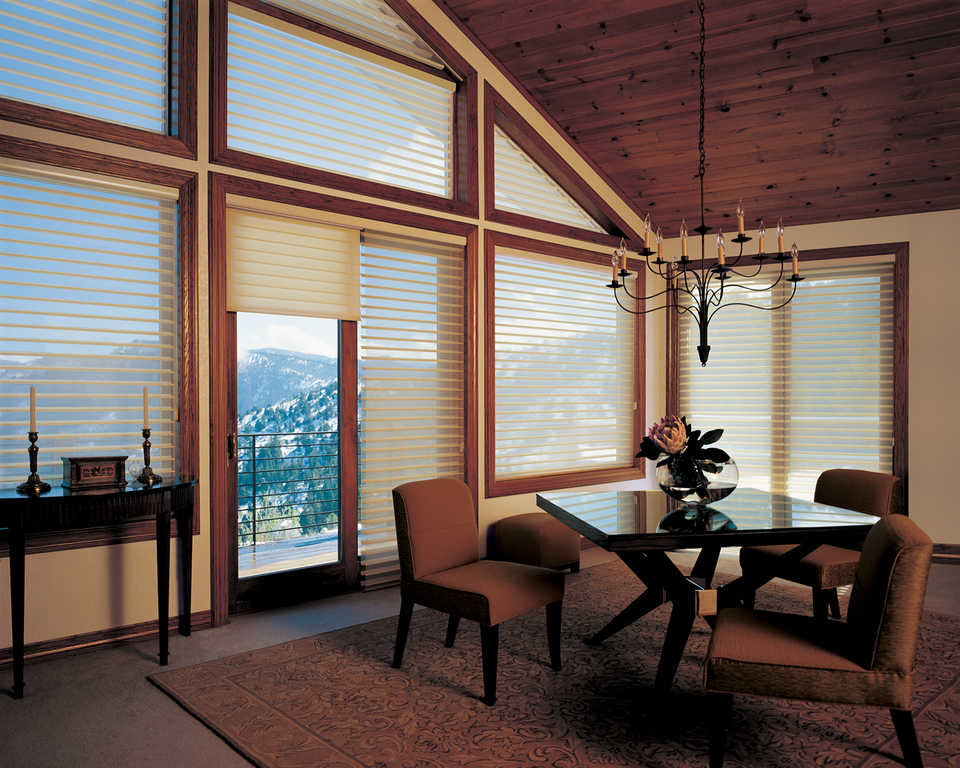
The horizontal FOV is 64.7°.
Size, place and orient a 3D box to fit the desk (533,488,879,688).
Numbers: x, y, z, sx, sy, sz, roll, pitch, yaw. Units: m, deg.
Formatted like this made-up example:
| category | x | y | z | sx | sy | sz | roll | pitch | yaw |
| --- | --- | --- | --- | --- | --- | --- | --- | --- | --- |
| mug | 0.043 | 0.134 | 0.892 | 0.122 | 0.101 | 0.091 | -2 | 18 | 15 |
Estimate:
| category | x | y | z | sx | sy | sz | roll | pitch | yaw |
| --- | --- | --- | --- | --- | --- | --- | --- | --- | --- |
| desk | 1.115 | 0.940 | 3.732 | 1.304 | 0.569 | 1.173 | 3 | -3 | -32 |

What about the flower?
| category | x | y | z | sx | sy | sz | roll | pitch | yaw |
| --- | --- | --- | --- | --- | --- | --- | --- | --- | --- |
| flower | 1.053 | 0.374 | 3.882 | 0.440 | 0.422 | 0.219 | 1 | 7 | 13 |

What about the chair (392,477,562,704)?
| category | x | y | z | sx | sy | sz | roll | pitch | yaw |
| --- | --- | --- | --- | --- | --- | --- | --- | --- | --- |
| chair | -0.013 | 0.987 | 3.904 | 0.806 | 0.741 | 0.613 | 7 | 4 | 37 |

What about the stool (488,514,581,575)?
| category | x | y | z | sx | sy | sz | roll | pitch | yaw |
| --- | --- | --- | --- | --- | --- | --- | --- | --- | --- |
| stool | 0.343 | 1.179 | 5.497 | 0.754 | 0.340 | 0.612 | 1 | -6 | -2 |

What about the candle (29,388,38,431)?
| category | x | y | z | sx | sy | sz | roll | pitch | yaw |
| --- | --- | --- | --- | --- | --- | --- | --- | --- | --- |
| candle | -2.164 | 0.115 | 3.671 | 0.017 | 0.216 | 0.081 | -3 | 8 | -20 |

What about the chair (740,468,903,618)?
| category | x | y | z | sx | sy | sz | roll | pitch | yaw |
| --- | --- | --- | --- | --- | --- | --- | --- | --- | --- |
| chair | 2.020 | 0.912 | 4.447 | 0.729 | 0.738 | 0.611 | -13 | 9 | -19 |

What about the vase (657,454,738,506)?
| category | x | y | z | sx | sy | sz | roll | pitch | yaw |
| --- | --- | --- | --- | --- | --- | --- | --- | --- | --- |
| vase | 1.124 | 0.477 | 3.839 | 0.356 | 0.148 | 0.294 | -1 | -5 | -2 |
